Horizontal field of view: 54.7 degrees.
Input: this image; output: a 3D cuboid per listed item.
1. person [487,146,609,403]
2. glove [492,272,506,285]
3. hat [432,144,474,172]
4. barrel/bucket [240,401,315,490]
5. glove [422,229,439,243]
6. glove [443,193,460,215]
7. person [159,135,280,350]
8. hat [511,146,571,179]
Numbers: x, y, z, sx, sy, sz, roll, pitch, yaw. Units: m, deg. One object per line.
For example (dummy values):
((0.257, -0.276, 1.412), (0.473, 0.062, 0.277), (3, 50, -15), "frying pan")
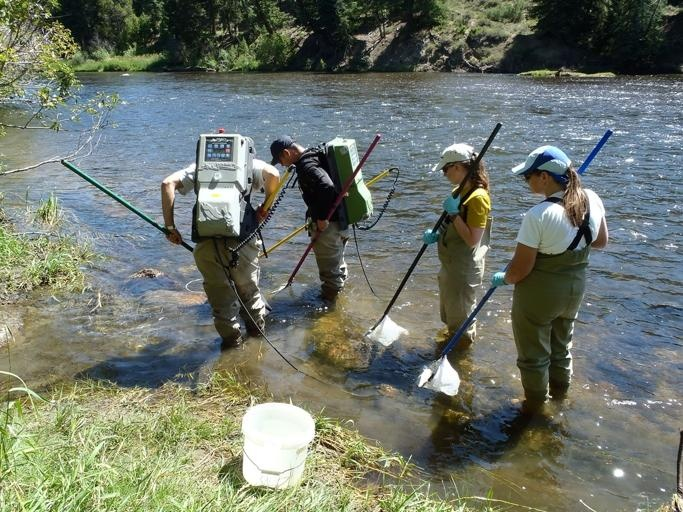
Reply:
((1.851, 0.232, 5.976), (0.685, 2.373, 0.703), (19, 30, 32), "person")
((1.469, 0.215, 6.165), (0.126, 0.143, 0.060), (5, 66, -9), "glove")
((1.080, -0.971, 6.665), (0.429, 0.175, 0.255), (-9, 22, 22), "hat")
((-0.547, 1.456, 5.215), (0.772, 0.426, 0.616), (1, 25, -12), "barrel/bucket")
((0.942, -0.206, 6.953), (0.149, 0.146, 0.076), (14, 13, -3), "glove")
((1.054, -0.495, 6.403), (0.086, 0.182, 0.157), (19, 34, 36), "glove")
((-1.150, -0.164, 6.998), (0.892, 2.221, 0.875), (16, 28, 27), "person")
((1.732, -0.826, 5.852), (0.513, 0.216, 0.281), (0, 22, 23), "hat")
